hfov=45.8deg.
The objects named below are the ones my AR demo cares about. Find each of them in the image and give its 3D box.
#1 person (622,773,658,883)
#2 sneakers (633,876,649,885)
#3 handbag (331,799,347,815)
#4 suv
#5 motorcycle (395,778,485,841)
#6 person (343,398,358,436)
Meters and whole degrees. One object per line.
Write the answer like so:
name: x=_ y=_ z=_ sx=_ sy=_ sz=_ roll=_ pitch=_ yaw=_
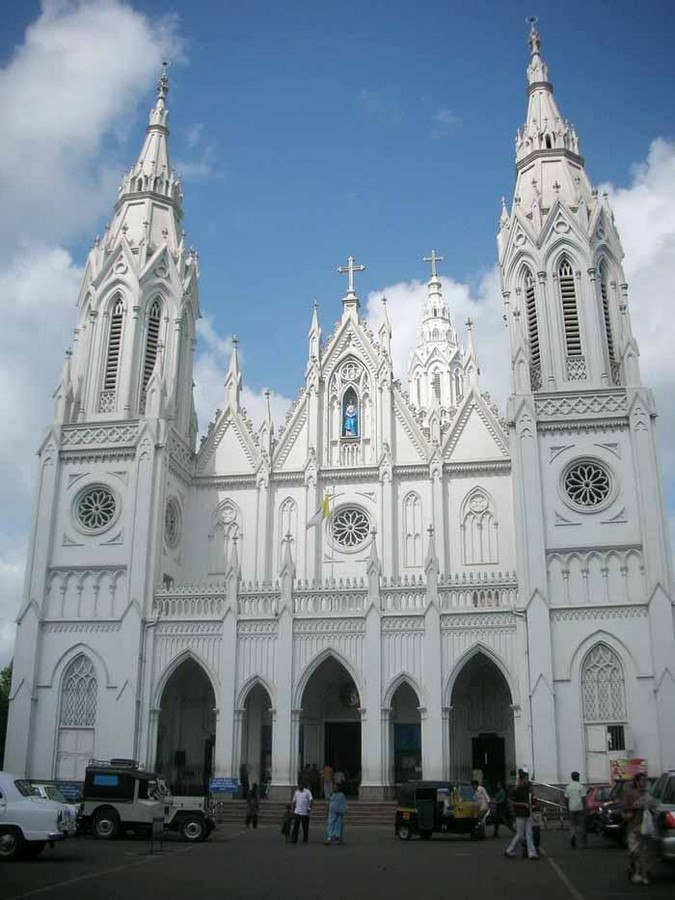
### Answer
person: x=3.525 y=4.424 z=9.349 sx=0.352 sy=1.162 sz=1.186 roll=-6 pitch=-21 yaw=19
sneakers: x=3.319 y=4.717 z=8.758 sx=0.174 sy=0.135 sz=0.060 roll=-20 pitch=-30 yaw=37
handbag: x=0.019 y=6.997 z=15.762 sx=0.282 sy=0.339 sz=0.551 roll=0 pitch=-21 yaw=-1
suv: x=-4.204 y=7.761 z=17.651 sx=2.665 sy=1.845 sz=1.576 roll=1 pitch=-22 yaw=-3
motorcycle: x=2.137 y=7.909 z=17.438 sx=1.668 sy=1.159 sz=1.248 roll=-7 pitch=-53 yaw=7
person: x=0.522 y=-1.333 z=33.186 sx=0.645 sy=1.779 sz=0.301 roll=-4 pitch=-19 yaw=11
